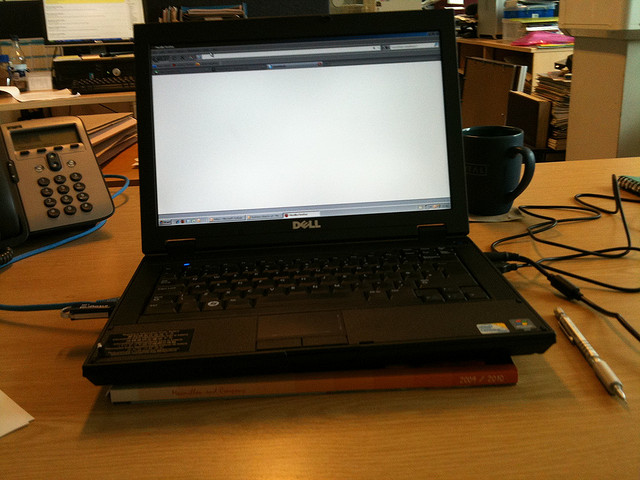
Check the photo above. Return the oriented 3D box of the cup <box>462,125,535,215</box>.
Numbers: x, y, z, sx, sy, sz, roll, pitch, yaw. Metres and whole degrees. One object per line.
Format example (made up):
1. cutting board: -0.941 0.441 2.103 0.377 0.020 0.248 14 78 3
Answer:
1. cup: 0.331 -0.117 0.918 0.116 0.141 0.169 -10 20 -15

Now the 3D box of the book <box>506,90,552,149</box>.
1. book: 1.100 -0.649 2.725 0.101 0.225 0.278 -11 31 -7

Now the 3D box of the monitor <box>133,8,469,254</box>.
1. monitor: -0.033 -0.154 0.748 0.392 0.240 0.014 -4 2 -4

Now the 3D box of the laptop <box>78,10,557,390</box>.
1. laptop: -0.026 -0.077 0.668 0.559 0.406 0.343 -3 22 -2

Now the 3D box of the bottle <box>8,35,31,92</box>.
1. bottle: -1.530 -0.883 2.593 0.110 0.255 0.293 -14 25 -25

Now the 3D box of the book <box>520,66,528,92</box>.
1. book: 1.119 -0.878 2.829 0.031 0.114 0.124 8 16 27
